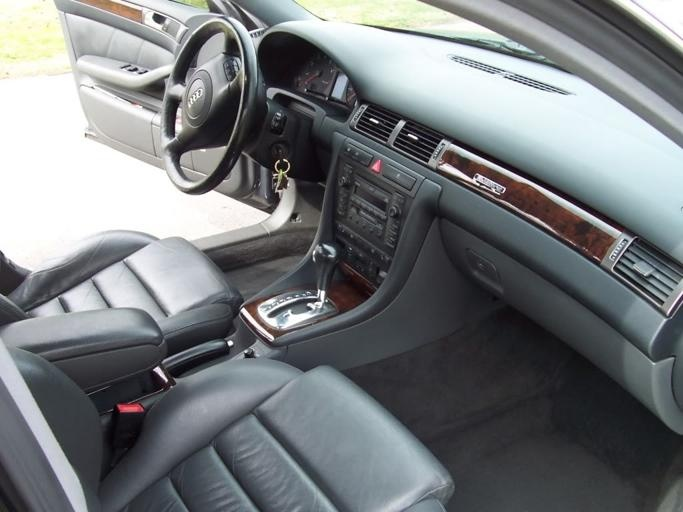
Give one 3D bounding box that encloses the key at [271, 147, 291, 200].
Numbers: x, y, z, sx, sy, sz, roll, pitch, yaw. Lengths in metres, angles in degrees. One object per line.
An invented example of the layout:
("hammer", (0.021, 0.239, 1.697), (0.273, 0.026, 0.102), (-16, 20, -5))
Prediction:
("key", (-0.237, -0.326, 1.906), (0.071, 0.154, 0.060), (-13, 41, -29))
